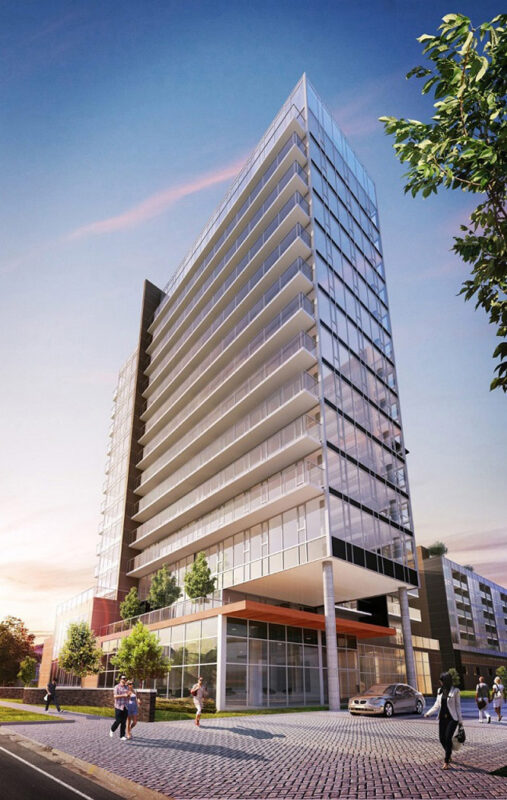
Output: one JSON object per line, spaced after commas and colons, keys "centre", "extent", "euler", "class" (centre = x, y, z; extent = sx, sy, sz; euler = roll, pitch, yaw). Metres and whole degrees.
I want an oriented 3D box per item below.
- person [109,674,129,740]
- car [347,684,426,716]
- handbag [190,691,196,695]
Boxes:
{"centre": [-3.725, 8.630, 16.178], "extent": [0.435, 1.539, 2.292], "euler": [4, -24, -12], "class": "person"}
{"centre": [5.218, 11.374, 22.075], "extent": [3.132, 1.043, 1.396], "euler": [25, -45, -35], "class": "car"}
{"centre": [-1.906, 9.352, 18.349], "extent": [0.092, 0.184, 0.194], "euler": [-18, -28, 35], "class": "handbag"}
